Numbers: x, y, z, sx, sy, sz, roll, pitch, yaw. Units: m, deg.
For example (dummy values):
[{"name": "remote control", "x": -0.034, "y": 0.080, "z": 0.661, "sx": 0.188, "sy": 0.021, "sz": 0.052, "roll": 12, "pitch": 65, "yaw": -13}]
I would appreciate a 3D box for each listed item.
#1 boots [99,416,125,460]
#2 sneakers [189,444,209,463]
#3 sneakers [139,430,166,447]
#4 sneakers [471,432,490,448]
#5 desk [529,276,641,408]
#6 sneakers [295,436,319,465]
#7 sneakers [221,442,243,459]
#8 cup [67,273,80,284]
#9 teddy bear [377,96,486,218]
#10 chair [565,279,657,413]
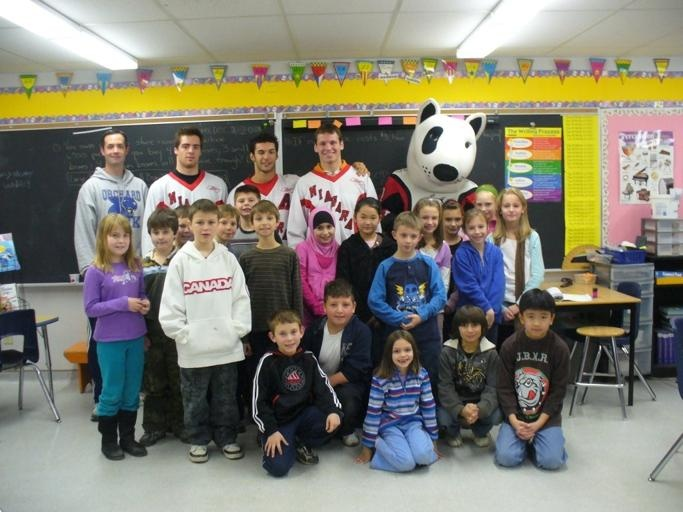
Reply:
[{"name": "boots", "x": -1.393, "y": 1.080, "z": 3.641, "sx": 0.132, "sy": 0.269, "sz": 0.132, "roll": -5, "pitch": 8, "yaw": -20}, {"name": "sneakers", "x": -0.864, "y": 1.166, "z": 3.627, "sx": 0.120, "sy": 0.098, "sz": 0.151, "roll": -4, "pitch": 7, "yaw": -16}, {"name": "sneakers", "x": -1.188, "y": 1.139, "z": 3.782, "sx": 0.134, "sy": 0.081, "sz": 0.069, "roll": 6, "pitch": 0, "yaw": -34}, {"name": "sneakers", "x": 0.867, "y": 1.113, "z": 3.730, "sx": 0.105, "sy": 0.075, "sz": 0.151, "roll": 0, "pitch": 7, "yaw": 13}, {"name": "desk", "x": 1.722, "y": 0.698, "z": 4.530, "sx": 0.878, "sy": 0.742, "sz": 0.691, "roll": -2, "pitch": -8, "yaw": 19}, {"name": "sneakers", "x": -0.240, "y": 1.152, "z": 3.568, "sx": 0.195, "sy": 0.086, "sz": 0.080, "roll": 6, "pitch": 7, "yaw": 44}, {"name": "sneakers", "x": -0.650, "y": 1.161, "z": 3.611, "sx": 0.063, "sy": 0.052, "sz": 0.135, "roll": 1, "pitch": 0, "yaw": -23}, {"name": "cup", "x": -2.203, "y": 0.184, "z": 4.933, "sx": 0.096, "sy": 0.072, "sz": 0.082, "roll": 2, "pitch": -5, "yaw": -27}, {"name": "teddy bear", "x": 0.734, "y": -0.638, "z": 4.531, "sx": 0.869, "sy": 0.964, "sz": 0.707, "roll": 9, "pitch": 21, "yaw": 1}, {"name": "chair", "x": 1.932, "y": 0.635, "z": 4.435, "sx": 0.523, "sy": 0.897, "sz": 0.480, "roll": 4, "pitch": -1, "yaw": 26}]
